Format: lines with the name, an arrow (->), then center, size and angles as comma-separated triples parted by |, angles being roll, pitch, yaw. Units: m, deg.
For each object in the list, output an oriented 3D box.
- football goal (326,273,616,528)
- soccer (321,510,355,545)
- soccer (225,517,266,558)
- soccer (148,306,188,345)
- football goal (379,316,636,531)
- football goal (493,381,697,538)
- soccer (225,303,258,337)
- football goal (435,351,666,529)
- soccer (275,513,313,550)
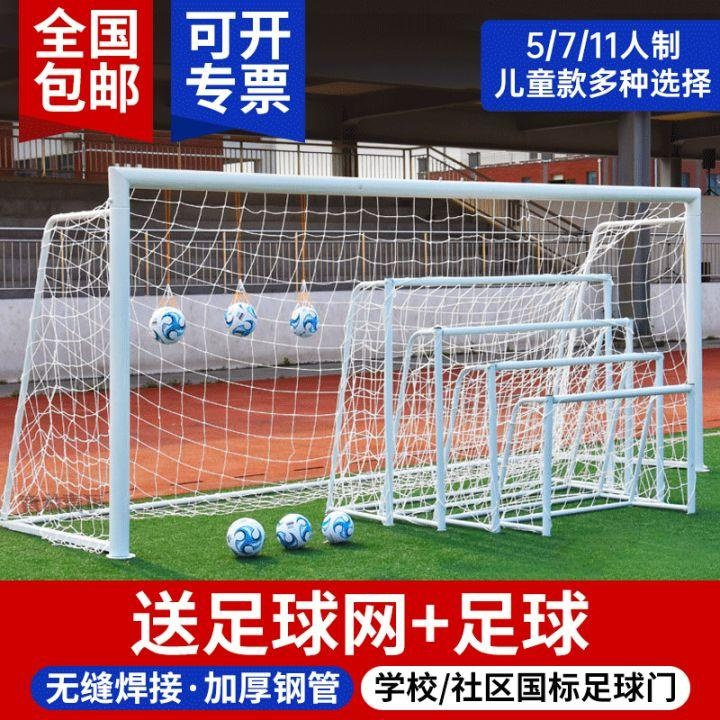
football goal -> 0.889, 0.331, 8.745 | 1.982, 1.633, 1.475 | -1, 0, -34
soccer -> -0.131, 0.958, 5.951 | 0.149, 0.183, 0.162 | 6, 11, -18
soccer -> -0.630, 0.984, 5.667 | 0.190, 0.201, 0.164 | 0, -4, -13
soccer -> -1.186, -0.225, 6.363 | 0.195, 0.236, 0.261 | 0, -4, -13
football goal -> 1.079, 0.596, 7.519 | 1.889, 1.515, 1.407 | -2, 0, -35
football goal -> 1.577, 0.694, 7.477 | 1.151, 0.791, 0.938 | -10, 23, -8
soccer -> -0.777, -0.274, 6.789 | 0.189, 0.269, 0.206 | -1, -9, -13
football goal -> 1.612, 0.574, 7.590 | 1.296, 0.923, 0.953 | 4, -22, -36
soccer -> -0.370, 0.978, 5.856 | 0.210, 0.189, 0.201 | 1, -4, -16
